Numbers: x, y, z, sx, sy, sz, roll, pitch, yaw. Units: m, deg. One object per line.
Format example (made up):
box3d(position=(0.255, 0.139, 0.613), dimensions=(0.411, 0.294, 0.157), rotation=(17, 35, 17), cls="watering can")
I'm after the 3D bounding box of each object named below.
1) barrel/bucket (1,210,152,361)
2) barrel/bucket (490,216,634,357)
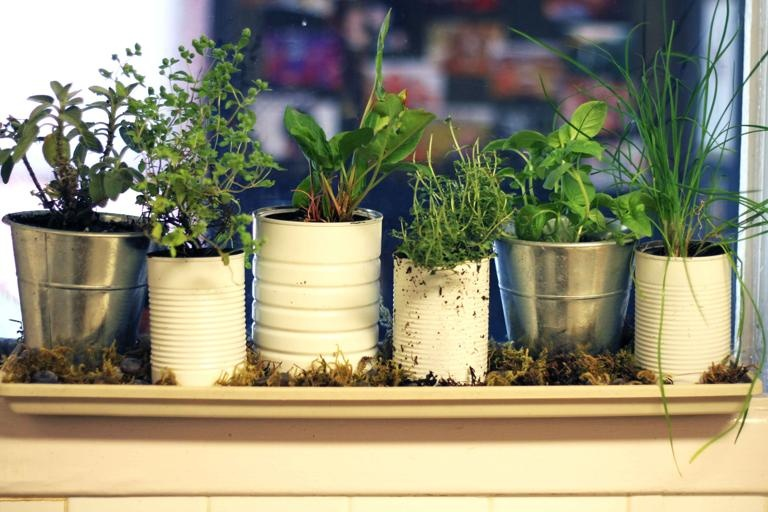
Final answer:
box3d(position=(-0.521, 0.047, 2.169), dimensions=(0.236, 0.183, 0.228), rotation=(4, 6, 0), cls="barrel/bucket")
box3d(position=(0.309, 0.087, 2.300), dimensions=(0.264, 0.209, 0.260), rotation=(-2, 3, 0), cls="barrel/bucket")
